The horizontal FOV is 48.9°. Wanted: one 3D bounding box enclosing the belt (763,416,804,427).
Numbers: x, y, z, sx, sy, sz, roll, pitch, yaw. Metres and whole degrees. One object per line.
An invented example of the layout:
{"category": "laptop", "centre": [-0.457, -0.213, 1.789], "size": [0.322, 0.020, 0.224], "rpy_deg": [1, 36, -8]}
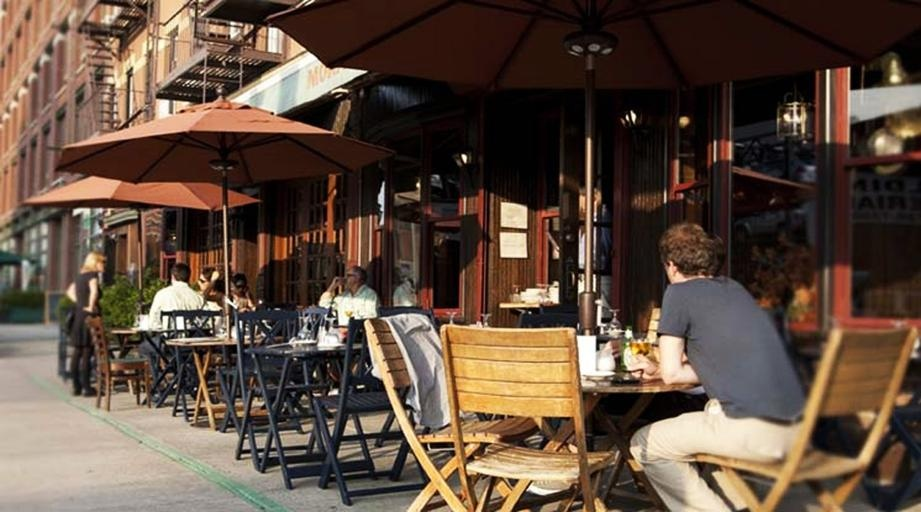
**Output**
{"category": "belt", "centre": [2.528, 1.296, 7.999], "size": [0.096, 0.075, 0.321], "rpy_deg": [1, -5, -33]}

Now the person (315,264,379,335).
{"category": "person", "centre": [-1.850, 0.881, 15.910], "size": [0.729, 0.473, 1.532], "rpy_deg": [14, -51, -9]}

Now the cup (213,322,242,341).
{"category": "cup", "centre": [-3.124, 1.024, 13.605], "size": [0.377, 0.133, 0.288], "rpy_deg": [2, -2, 5]}
